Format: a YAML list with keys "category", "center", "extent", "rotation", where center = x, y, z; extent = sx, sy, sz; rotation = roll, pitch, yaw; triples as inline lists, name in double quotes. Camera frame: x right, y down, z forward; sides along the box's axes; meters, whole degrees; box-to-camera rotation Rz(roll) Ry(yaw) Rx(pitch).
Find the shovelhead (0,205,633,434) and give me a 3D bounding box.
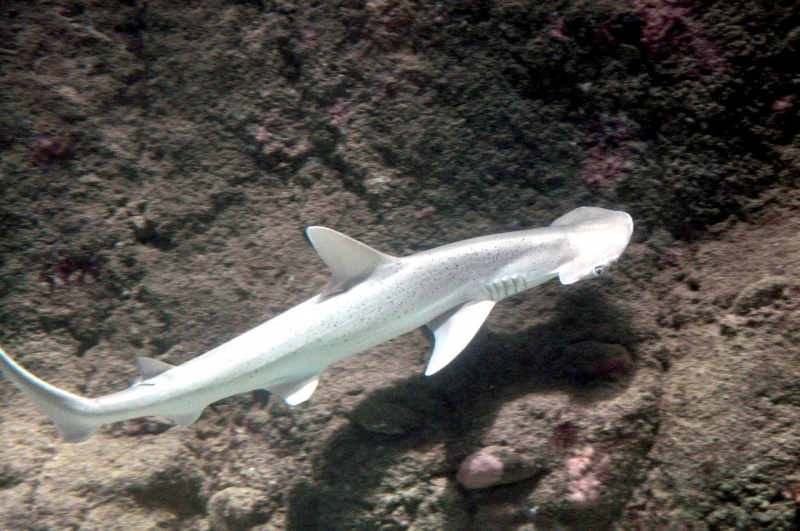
- category: "shovelhead"
  center: [-0.443, 0.336, 6.170]
  extent: [2.903, 1.890, 0.726]
  rotation: [10, 27, -18]
